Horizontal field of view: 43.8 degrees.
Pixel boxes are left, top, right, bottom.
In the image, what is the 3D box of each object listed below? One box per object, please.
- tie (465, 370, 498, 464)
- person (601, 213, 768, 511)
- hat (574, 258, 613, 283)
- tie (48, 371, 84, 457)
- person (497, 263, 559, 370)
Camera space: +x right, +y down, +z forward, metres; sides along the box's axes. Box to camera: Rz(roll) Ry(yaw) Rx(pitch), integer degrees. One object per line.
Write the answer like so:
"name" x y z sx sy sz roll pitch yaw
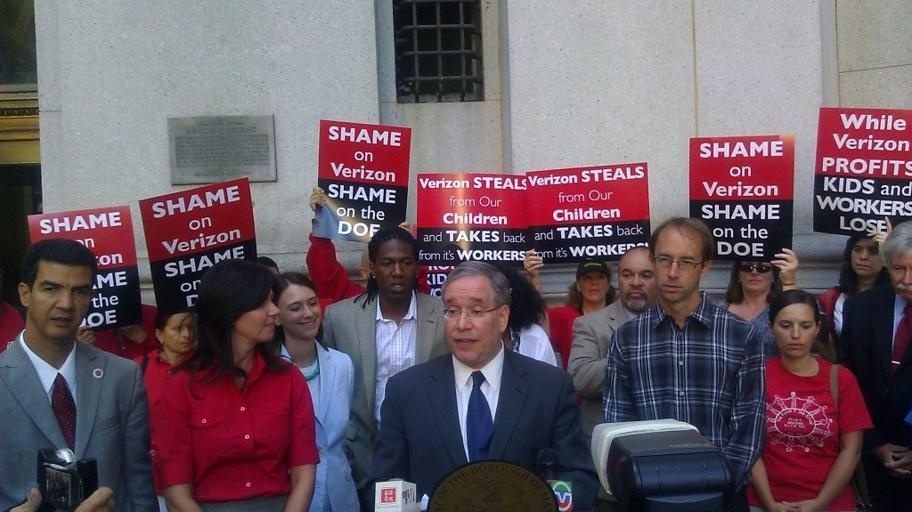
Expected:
"tie" 0.218 1.541 10.985 0.262 0.816 0.219 -2 7 -1
"person" 2.275 0.933 11.320 1.510 2.526 0.615 0 7 16
"hat" 1.635 0.224 13.678 0.319 0.242 0.540 -1 -23 8
"tie" -3.832 1.522 11.093 0.222 0.713 0.190 -3 7 -6
"person" 0.772 0.684 12.494 0.729 0.993 0.356 12 -22 -16
